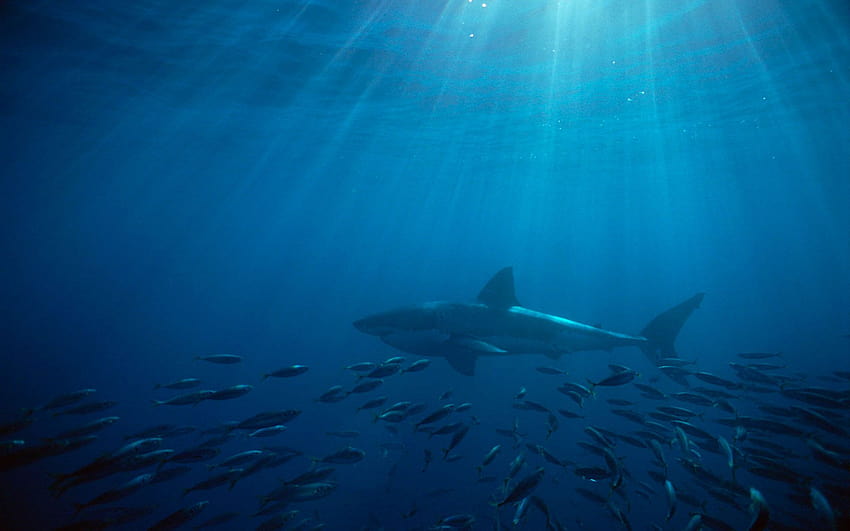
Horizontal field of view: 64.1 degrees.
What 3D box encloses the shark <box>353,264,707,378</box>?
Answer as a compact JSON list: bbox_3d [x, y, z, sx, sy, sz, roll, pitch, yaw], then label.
[{"bbox_3d":[5.550,3.145,36.966,18.829,4.418,5.000,5,-7,-6],"label":"shark"}]
